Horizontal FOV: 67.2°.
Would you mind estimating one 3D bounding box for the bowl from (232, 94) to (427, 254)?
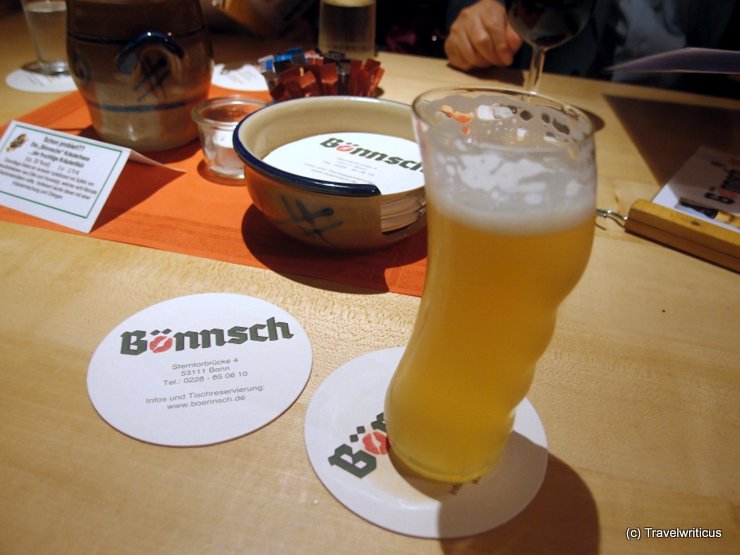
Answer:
[{"bbox_3d":[-0.044,-0.162,0.860,0.279,0.121,0.287,3,42,-3],"label":"bowl"}]

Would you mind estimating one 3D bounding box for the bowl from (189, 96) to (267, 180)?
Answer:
[{"bbox_3d":[-0.260,-0.225,0.991,0.115,0.088,0.119,6,13,-1],"label":"bowl"}]
